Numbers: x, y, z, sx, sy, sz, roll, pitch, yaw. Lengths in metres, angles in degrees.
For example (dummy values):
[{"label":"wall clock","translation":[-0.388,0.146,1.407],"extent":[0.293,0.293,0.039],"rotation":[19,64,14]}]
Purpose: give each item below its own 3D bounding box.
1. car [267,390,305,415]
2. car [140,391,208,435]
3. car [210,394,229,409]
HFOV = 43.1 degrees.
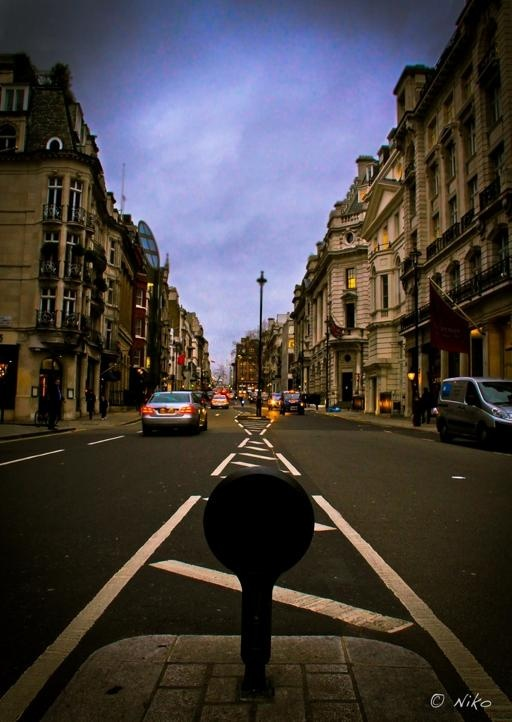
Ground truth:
[{"label":"car","translation":[2.558,3.283,50.724],"extent":[1.333,1.870,4.659],"rotation":[0,1,-5]},{"label":"car","translation":[-2.638,1.640,20.627],"extent":[1.913,1.382,2.265],"rotation":[3,-2,-11]},{"label":"car","translation":[-3.915,4.288,68.002],"extent":[1.041,1.083,2.875],"rotation":[0,4,0]}]
